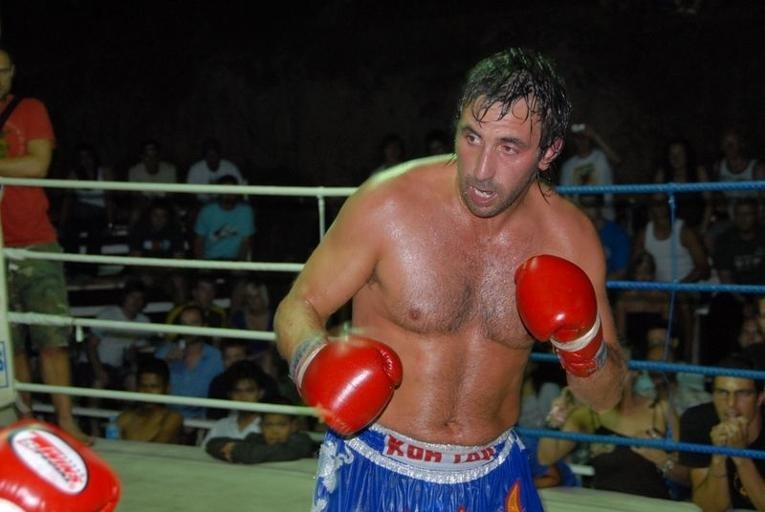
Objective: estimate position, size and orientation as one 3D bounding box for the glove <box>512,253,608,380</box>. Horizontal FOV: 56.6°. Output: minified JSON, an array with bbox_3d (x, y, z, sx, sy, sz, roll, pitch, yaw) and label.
[{"bbox_3d":[0.819,0.286,3.277,0.402,0.534,0.253,-41,13,-19],"label":"glove"}]

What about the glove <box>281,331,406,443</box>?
[{"bbox_3d":[-0.158,0.547,3.044,0.430,0.380,0.214,-40,-7,-2],"label":"glove"}]
